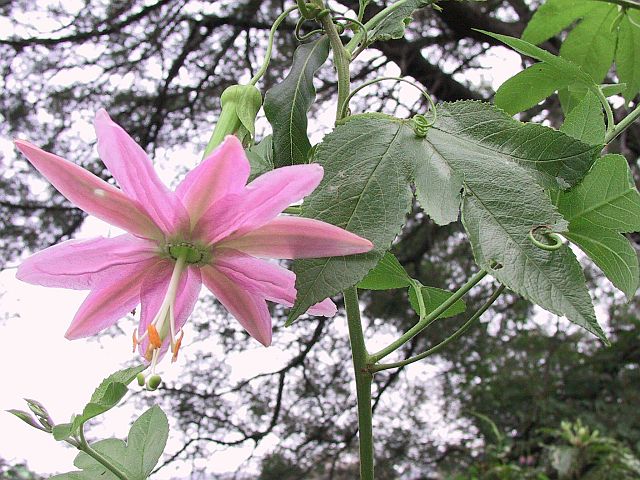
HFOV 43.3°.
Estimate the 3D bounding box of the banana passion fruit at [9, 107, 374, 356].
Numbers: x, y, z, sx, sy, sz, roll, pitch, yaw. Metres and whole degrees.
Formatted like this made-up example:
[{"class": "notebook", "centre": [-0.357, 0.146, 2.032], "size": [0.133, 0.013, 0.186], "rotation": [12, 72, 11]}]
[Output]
[{"class": "banana passion fruit", "centre": [-0.199, -0.028, 1.056], "size": [0.497, 0.202, 0.329], "rotation": [2, -74, -1]}]
